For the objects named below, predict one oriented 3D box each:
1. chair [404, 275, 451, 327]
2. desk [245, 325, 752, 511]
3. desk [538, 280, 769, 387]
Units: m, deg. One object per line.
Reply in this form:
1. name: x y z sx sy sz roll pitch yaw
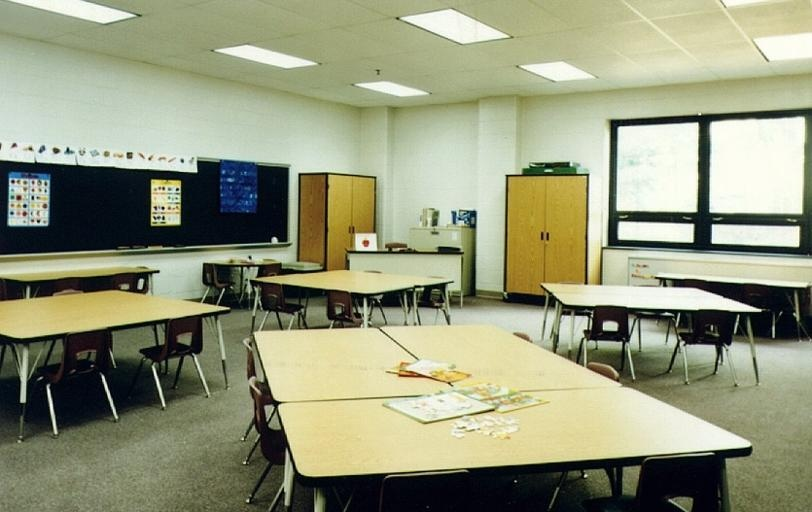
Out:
1. chair: 0.187 0.822 10.207 0.753 0.639 0.643 -3 -4 45
2. desk: 0.483 1.238 5.789 3.681 0.835 2.411 -1 3 -7
3. desk: 3.245 1.230 8.675 1.930 0.661 1.809 0 0 -4
